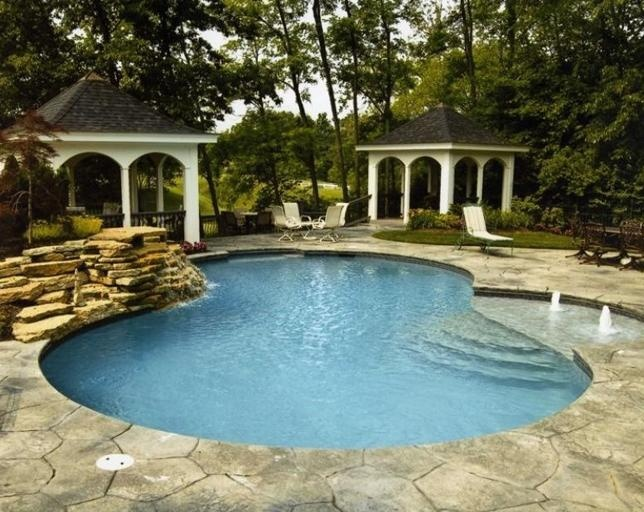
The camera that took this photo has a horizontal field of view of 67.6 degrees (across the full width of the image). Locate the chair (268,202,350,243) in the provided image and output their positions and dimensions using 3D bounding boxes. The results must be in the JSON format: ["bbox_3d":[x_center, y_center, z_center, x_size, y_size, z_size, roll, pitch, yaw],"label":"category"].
[{"bbox_3d":[-0.543,-1.266,18.757,2.880,1.316,1.745,4,4,38],"label":"chair"}]

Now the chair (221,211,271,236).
[{"bbox_3d":[-3.315,-1.485,21.346,1.206,1.048,2.225,12,16,43],"label":"chair"}]

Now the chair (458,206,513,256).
[{"bbox_3d":[4.934,-0.789,14.425,0.977,1.150,1.484,-7,17,-21],"label":"chair"}]
